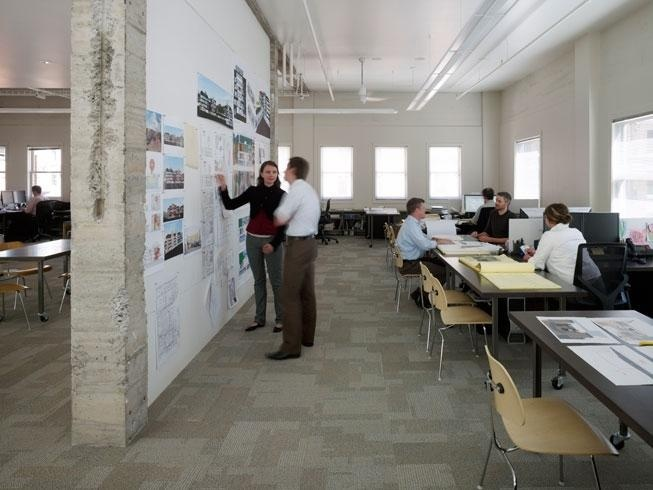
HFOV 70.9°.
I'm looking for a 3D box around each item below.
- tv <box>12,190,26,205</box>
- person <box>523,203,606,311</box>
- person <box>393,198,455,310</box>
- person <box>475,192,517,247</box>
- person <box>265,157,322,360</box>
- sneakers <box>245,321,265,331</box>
[{"bbox_3d":[-8.982,-1.388,13.473,0.284,0.496,0.528,-1,5,-2],"label":"tv"},{"bbox_3d":[2.404,0.199,4.644,0.494,1.168,0.779,-2,-2,-28],"label":"person"},{"bbox_3d":[1.313,0.119,6.271,0.761,1.445,0.613,1,8,5],"label":"person"},{"bbox_3d":[2.658,-0.370,7.066,0.518,0.848,0.519,17,26,36],"label":"person"},{"bbox_3d":[-0.307,0.127,4.541,0.375,1.943,0.570,3,9,21],"label":"person"},{"bbox_3d":[-0.828,0.941,5.293,0.076,0.087,0.232,-4,-7,33],"label":"sneakers"}]
